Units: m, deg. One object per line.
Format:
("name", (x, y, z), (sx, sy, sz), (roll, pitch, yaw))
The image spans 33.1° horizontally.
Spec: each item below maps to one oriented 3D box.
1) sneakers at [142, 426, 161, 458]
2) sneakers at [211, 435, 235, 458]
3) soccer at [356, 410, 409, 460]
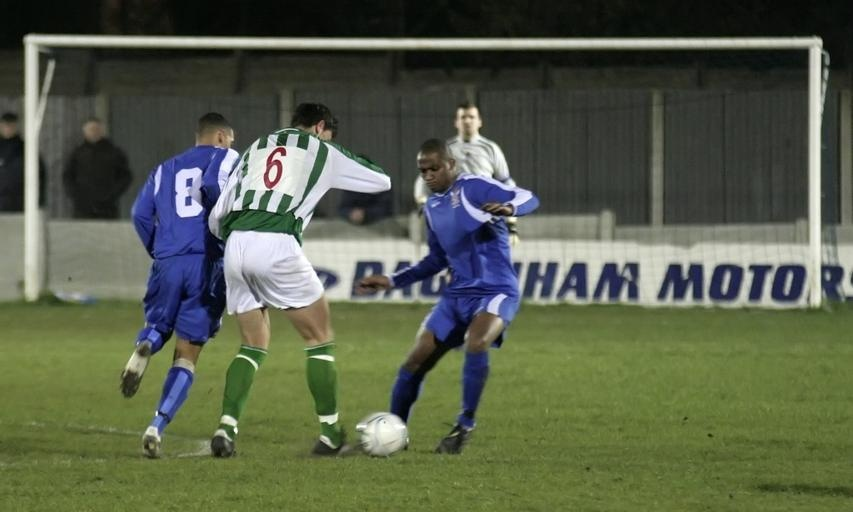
("sneakers", (-3.401, 2.315, 17.843), (0.147, 0.357, 0.263), (-2, 25, -47))
("sneakers", (-2.519, 2.379, 17.963), (0.185, 0.246, 0.318), (0, -4, -14))
("soccer", (-0.518, 2.290, 18.189), (0.645, 0.660, 0.777), (-4, 15, -17))
